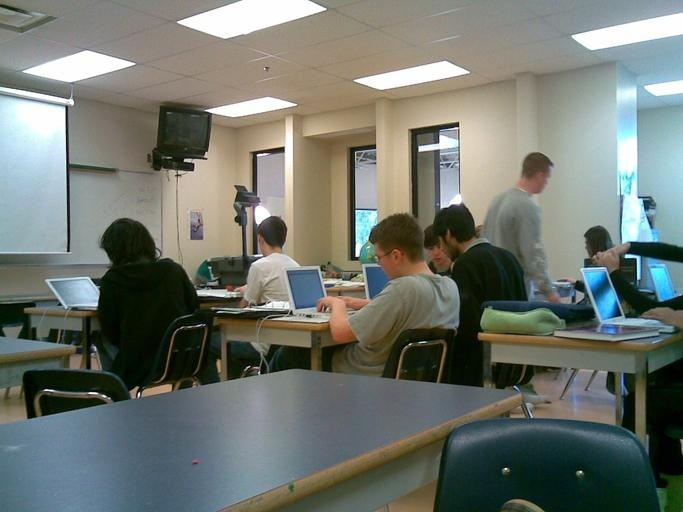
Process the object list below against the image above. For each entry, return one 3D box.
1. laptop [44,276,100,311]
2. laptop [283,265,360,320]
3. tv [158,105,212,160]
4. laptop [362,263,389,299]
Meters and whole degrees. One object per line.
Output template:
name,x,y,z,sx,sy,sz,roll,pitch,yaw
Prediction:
laptop,-1.947,0.276,4.036,0.377,0.252,0.408,-5,-3,27
laptop,-0.180,0.209,3.377,0.270,0.198,0.319,5,1,30
tv,-2.272,-1.758,7.759,0.835,0.785,0.473,0,1,-45
laptop,0.227,0.162,3.739,0.196,0.182,0.263,-13,-6,37
